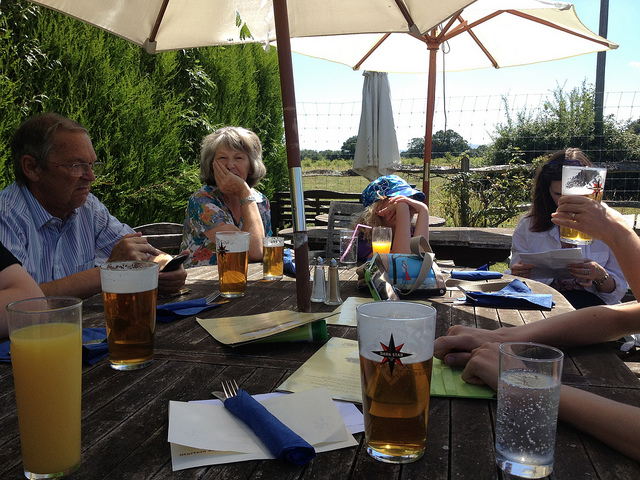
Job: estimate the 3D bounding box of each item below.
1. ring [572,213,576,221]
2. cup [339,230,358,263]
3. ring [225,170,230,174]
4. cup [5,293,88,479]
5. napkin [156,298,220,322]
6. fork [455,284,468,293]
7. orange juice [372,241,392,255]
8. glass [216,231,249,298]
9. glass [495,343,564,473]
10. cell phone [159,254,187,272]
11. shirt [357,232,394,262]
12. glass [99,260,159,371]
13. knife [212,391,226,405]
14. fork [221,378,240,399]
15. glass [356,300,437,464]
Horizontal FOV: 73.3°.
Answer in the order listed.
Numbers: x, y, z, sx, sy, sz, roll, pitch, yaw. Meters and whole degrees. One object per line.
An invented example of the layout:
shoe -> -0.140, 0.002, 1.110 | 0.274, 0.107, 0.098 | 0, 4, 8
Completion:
ring -> 0.973, -0.093, 1.652 | 0.003, 0.021, 0.019 | 5, 54, 16
cup -> 0.182, 0.037, 2.598 | 0.121, 0.203, 0.124 | -1, 4, 0
ring -> -0.597, -0.438, 2.744 | 0.031, 0.024, 0.032 | 0, -2, 0
cup -> -0.486, 0.259, 0.779 | 0.114, 0.288, 0.146 | -6, 12, -32
napkin -> -0.493, 0.247, 1.584 | 0.086, 0.040, 0.237 | 8, 12, 40
fork -> 0.601, 0.205, 1.838 | 0.009, 0.010, 0.033 | 14, 23, -38
orange juice -> 0.337, 0.041, 2.328 | 0.079, 0.063, 0.085 | 1, -2, 0
glass -> -0.362, 0.086, 1.770 | 0.158, 0.264, 0.145 | -1, 5, -19
glass -> 0.372, 0.307, 0.825 | 0.117, 0.250, 0.111 | 5, 3, 11
cell phone -> -0.656, 0.098, 1.898 | 0.079, 0.014, 0.136 | -36, -7, 3
shirt -> 0.354, 0.036, 2.861 | 0.199, 0.232, 0.202 | 1, 1, -2
glass -> -0.488, 0.192, 1.101 | 0.134, 0.300, 0.151 | 9, 7, 38
knife -> -0.225, 0.348, 0.957 | 0.037, 0.003, 0.013 | 8, 53, 49
fork -> -0.210, 0.344, 1.001 | 0.024, 0.004, 0.090 | -5, 5, -8
glass -> 0.147, 0.253, 0.851 | 0.145, 0.303, 0.140 | 3, 8, 20
